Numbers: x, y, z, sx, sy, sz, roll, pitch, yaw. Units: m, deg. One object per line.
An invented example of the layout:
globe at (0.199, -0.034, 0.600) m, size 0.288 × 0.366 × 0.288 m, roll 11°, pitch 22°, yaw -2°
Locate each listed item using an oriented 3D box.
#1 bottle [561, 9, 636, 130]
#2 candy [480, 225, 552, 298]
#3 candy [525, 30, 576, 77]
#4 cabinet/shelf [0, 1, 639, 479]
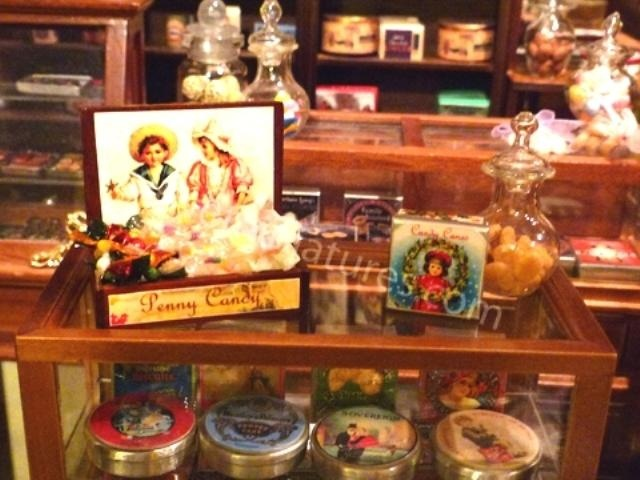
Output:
bottle at (0.776, -0.473, 1.737) m, size 0.180 × 0.279 × 0.214 m, roll 5°, pitch 20°, yaw 17°
candy at (0.422, 0.043, 1.432) m, size 0.141 × 0.094 × 0.152 m, roll 28°, pitch -26°, yaw -13°
candy at (1.096, -0.914, 3.130) m, size 0.210 × 0.219 × 0.212 m, roll -1°, pitch 23°, yaw -1°
cabinet/shelf at (-0.001, 0.009, 1.569) m, size 1.845 × 1.106 × 0.493 m, roll 0°, pitch 18°, yaw -1°
